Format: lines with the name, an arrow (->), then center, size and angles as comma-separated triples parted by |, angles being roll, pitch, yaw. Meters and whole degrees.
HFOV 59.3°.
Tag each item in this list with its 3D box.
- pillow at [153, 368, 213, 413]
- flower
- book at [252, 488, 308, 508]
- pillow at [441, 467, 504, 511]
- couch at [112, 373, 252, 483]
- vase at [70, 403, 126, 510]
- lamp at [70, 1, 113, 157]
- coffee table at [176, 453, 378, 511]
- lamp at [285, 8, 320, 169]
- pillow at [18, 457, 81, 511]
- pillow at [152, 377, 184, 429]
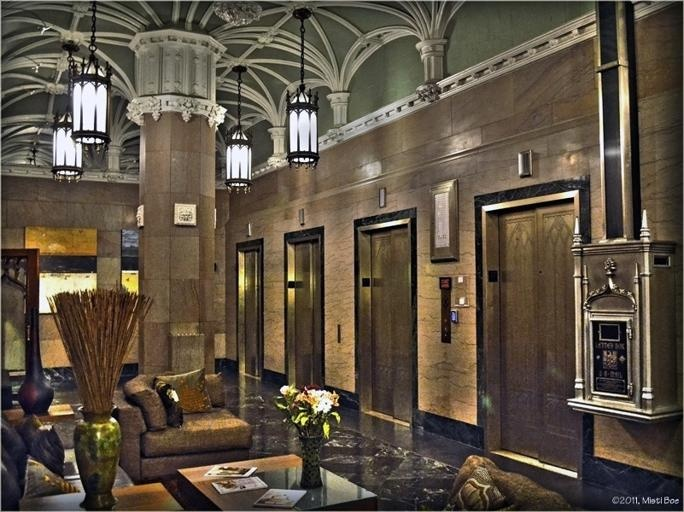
pillow -> -1.796, 1.600, 7.135 | 0.490, 0.528, 0.150 | 3, -21, -34
flower -> -0.244, 1.456, 5.335 | 0.432, 0.376, 0.395 | 2, -3, 31
book -> -0.510, 2.020, 5.038 | 0.358, 0.055, 0.386 | -1, -4, 12
pillow -> 0.937, 1.675, 4.302 | 0.291, 0.115, 0.314 | -8, 36, 42
couch -> -1.914, 2.004, 7.080 | 1.440, 1.058, 1.328 | 5, -13, -41
vase -> -1.607, 1.322, 3.926 | 0.287, 0.671, 0.219 | 1, -3, -18
lamp -> -3.370, -2.531, 8.030 | 0.503, 2.375, 1.565 | 1, -4, -24
coffee table -> -0.596, 2.098, 5.300 | 1.721, 0.247, 1.030 | 1, -4, -9
lamp -> -0.576, -2.471, 8.988 | 0.456, 2.444, 1.666 | 0, -3, -3
pillow -> -2.054, 1.601, 4.223 | 0.333, 0.107, 0.286 | 15, -4, -23
pillow -> -1.927, 1.636, 6.608 | 0.114, 0.257, 0.317 | -20, -39, -14
